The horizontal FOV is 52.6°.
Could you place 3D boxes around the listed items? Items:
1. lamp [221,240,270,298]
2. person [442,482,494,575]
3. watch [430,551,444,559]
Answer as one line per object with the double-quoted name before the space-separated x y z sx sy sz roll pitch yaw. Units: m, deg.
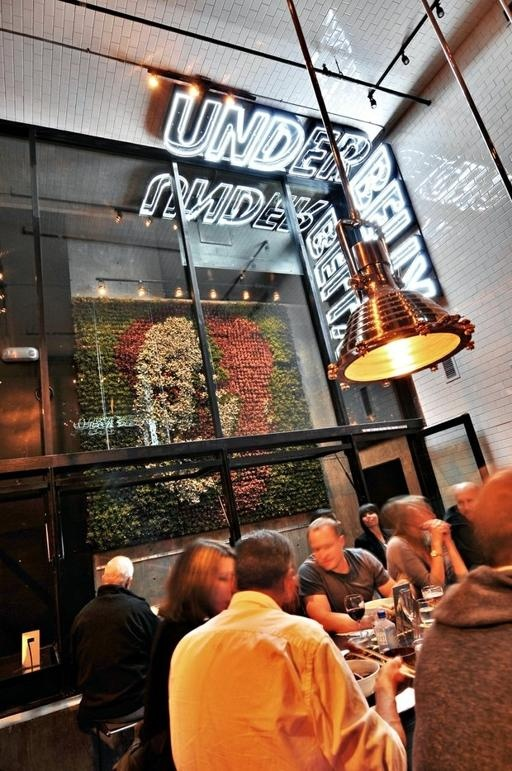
"lamp" -0.148 -1.347 6.094 0.084 0.138 0.982 -21 31 53
"person" 1.550 1.125 3.980 0.324 0.713 0.406 -4 -4 -23
"watch" 1.112 1.043 3.172 0.052 0.035 0.058 1 -23 1
